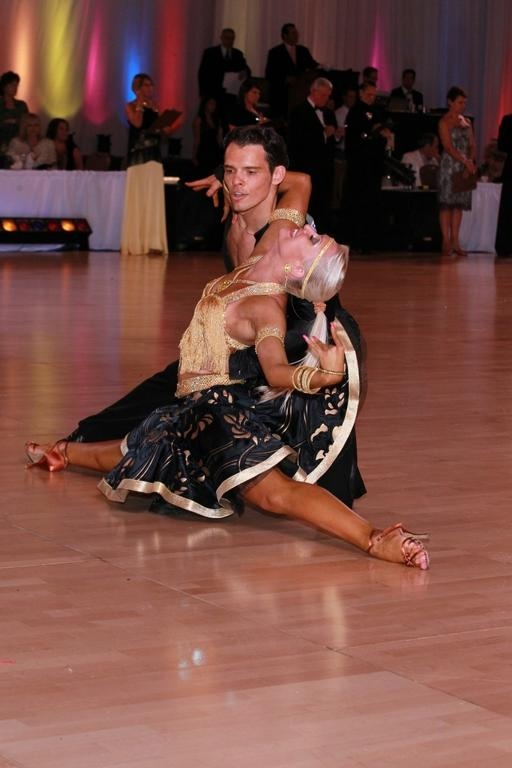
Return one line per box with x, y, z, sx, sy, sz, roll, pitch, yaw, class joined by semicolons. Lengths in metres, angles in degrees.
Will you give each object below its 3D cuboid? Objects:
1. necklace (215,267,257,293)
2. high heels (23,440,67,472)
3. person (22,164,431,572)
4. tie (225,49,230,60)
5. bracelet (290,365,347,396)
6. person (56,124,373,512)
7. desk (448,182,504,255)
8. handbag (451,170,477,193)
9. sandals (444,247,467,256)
-0.043;-0.257;1.955;0.082;0.037;0.076;3;10;-7;necklace
-0.634;0.224;2.421;0.124;0.077;0.044;12;10;-1;high heels
-0.052;-0.102;1.994;1.113;0.934;0.456;5;4;44;person
-0.441;-5.065;12.153;0.124;0.144;0.038;-3;-3;-4;tie
0.129;-0.014;1.696;0.086;0.058;0.034;2;19;-25;bracelet
-0.064;-0.242;2.109;0.559;0.773;0.887;6;11;44;person
3.437;-2.553;12.219;0.567;1.004;0.685;3;3;12;desk
2.857;-2.774;10.903;0.309;0.298;0.194;1;3;-24;handbag
2.874;-1.922;11.514;0.425;0.142;0.131;0;5;-1;sandals
